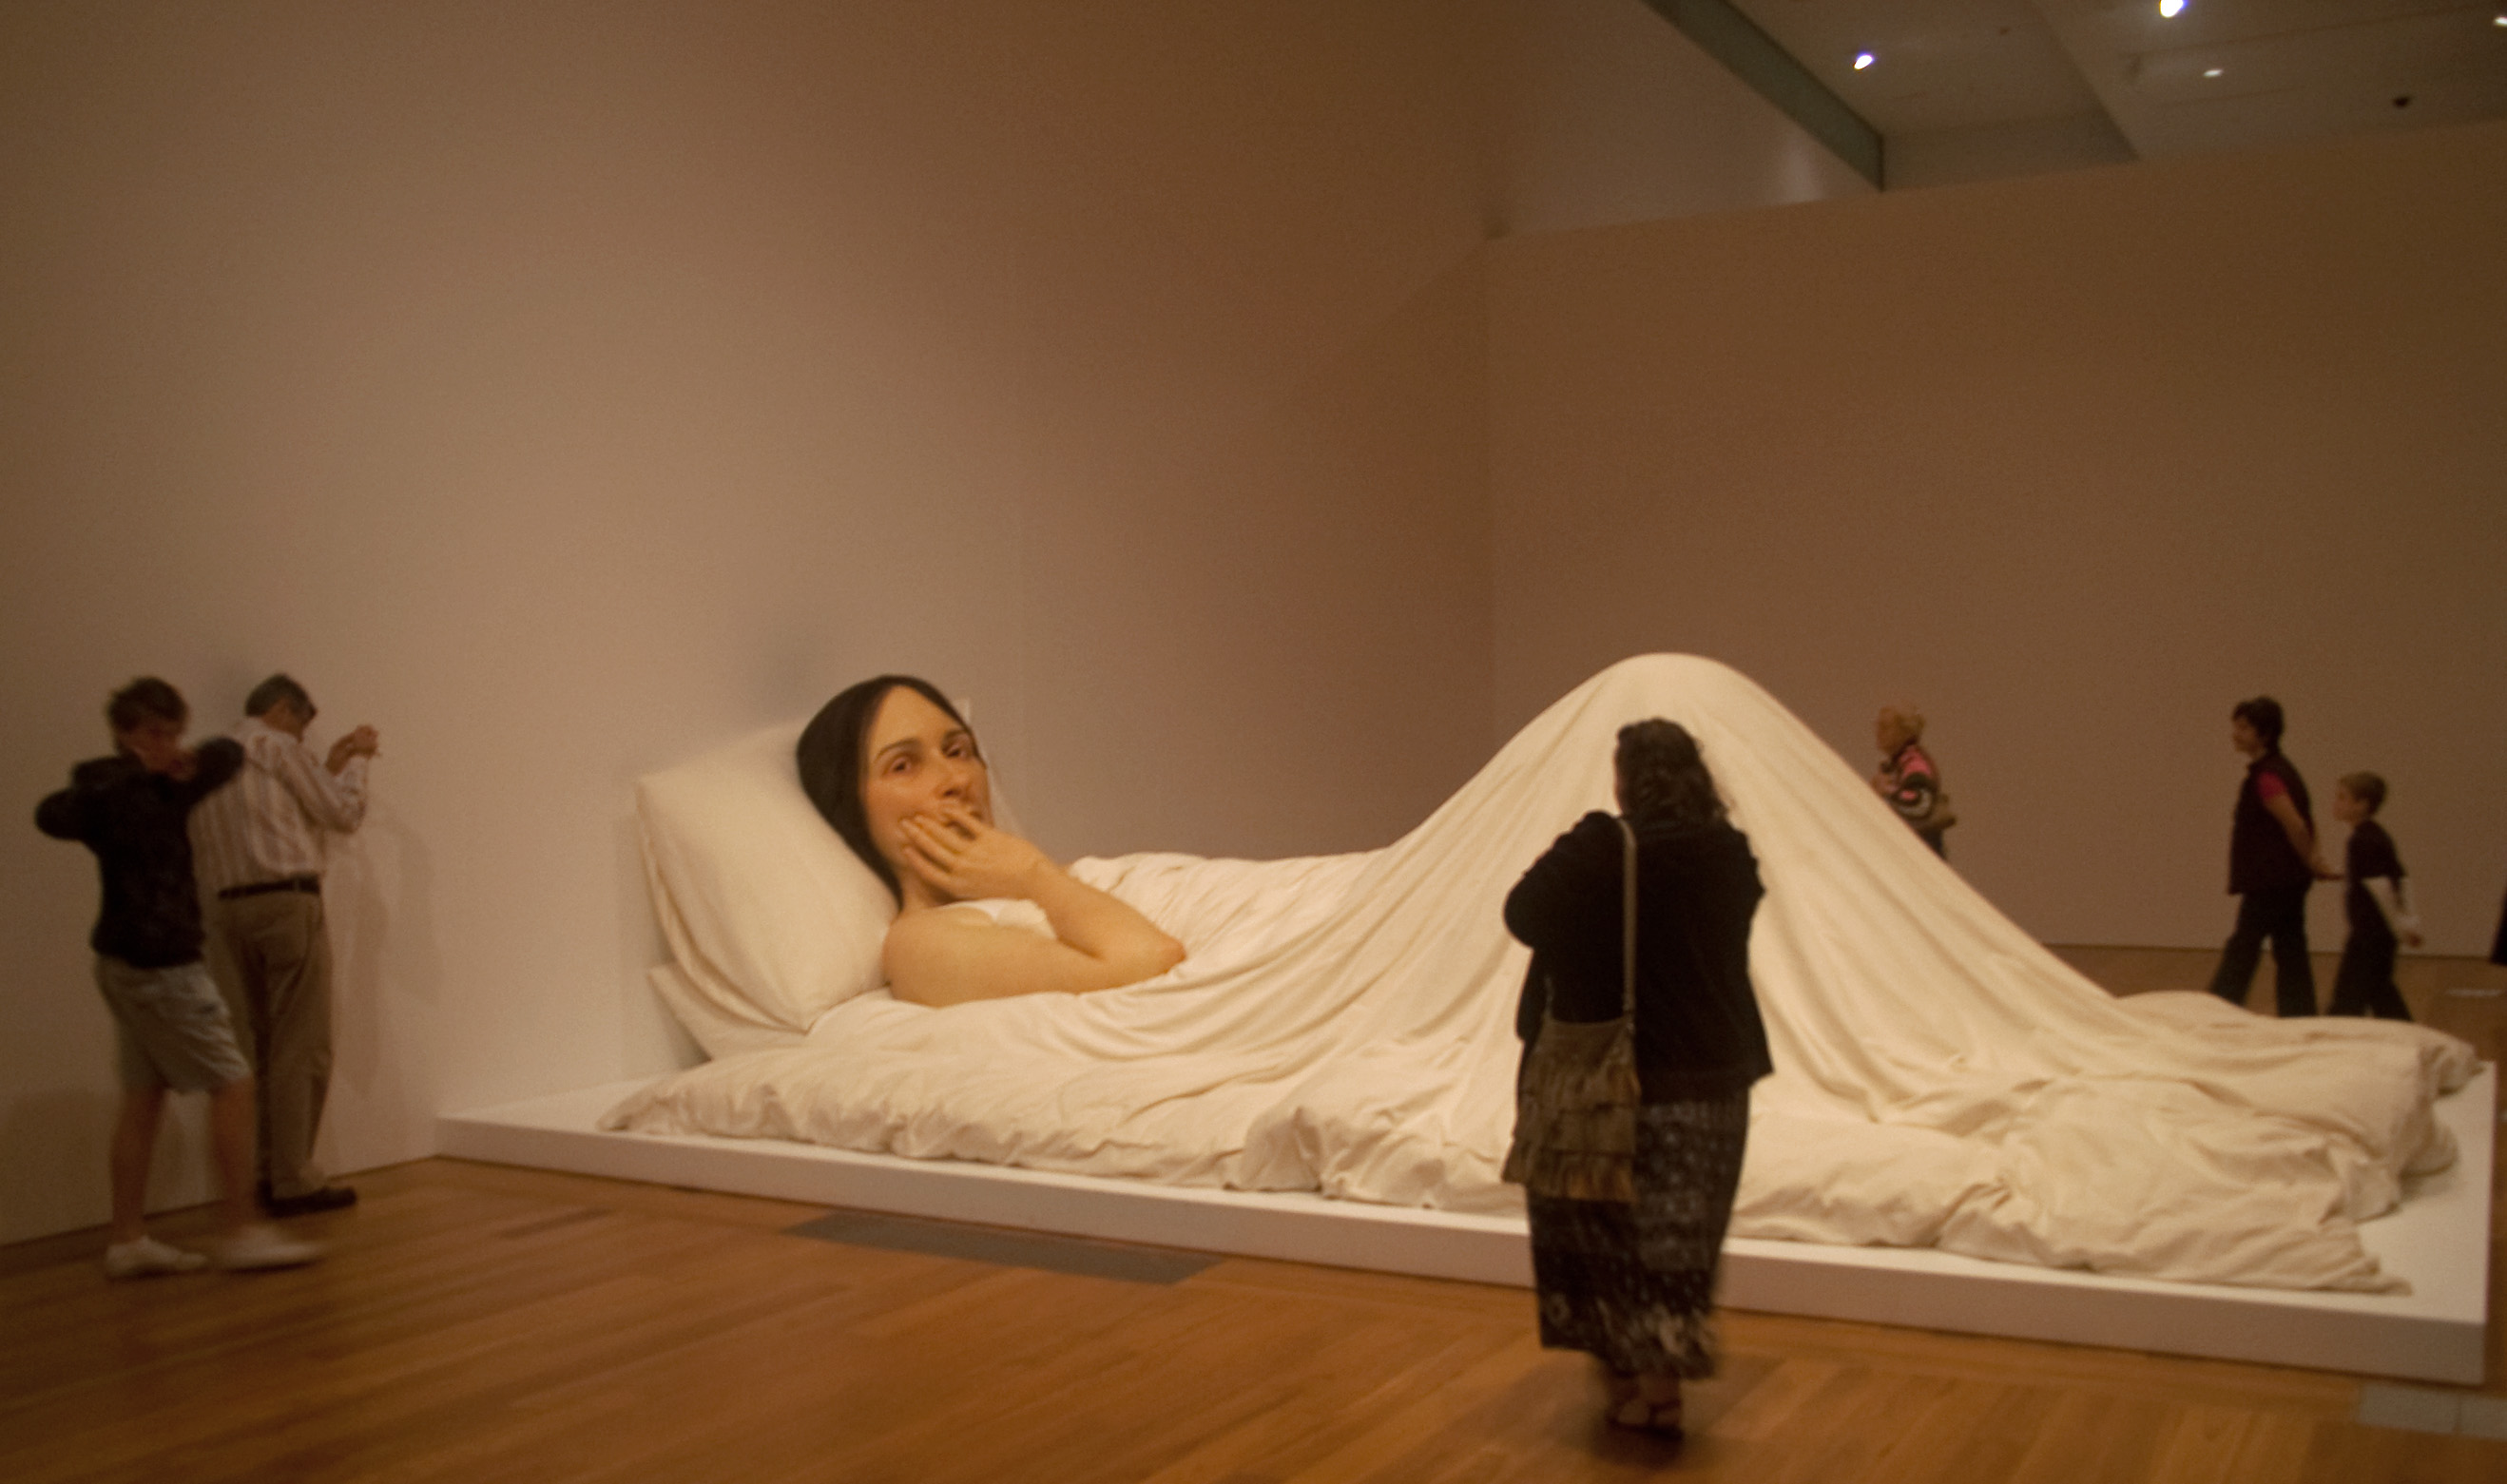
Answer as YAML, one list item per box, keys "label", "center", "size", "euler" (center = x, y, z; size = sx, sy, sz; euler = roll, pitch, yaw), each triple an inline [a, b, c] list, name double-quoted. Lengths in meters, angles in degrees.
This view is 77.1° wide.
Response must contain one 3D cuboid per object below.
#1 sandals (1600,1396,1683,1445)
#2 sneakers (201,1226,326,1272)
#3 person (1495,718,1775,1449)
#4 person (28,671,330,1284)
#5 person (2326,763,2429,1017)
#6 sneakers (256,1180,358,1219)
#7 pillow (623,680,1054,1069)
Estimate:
- label: "sandals"
  center: [0.956, 1.660, 3.834]
  size: [0.154, 0.056, 0.086]
  euler: [2, 3, 16]
- label: "sneakers"
  center: [-3.088, 1.556, 4.899]
  size: [0.275, 0.101, 0.153]
  euler: [-1, 1, -11]
- label: "person"
  center: [0.940, 0.825, 3.863]
  size: [0.653, 1.749, 0.274]
  euler: [1, -5, -18]
- label: "person"
  center: [-3.368, 0.722, 4.867]
  size: [0.700, 1.824, 0.283]
  euler: [2, -6, -34]
- label: "person"
  center: [4.986, 0.676, 7.010]
  size: [0.317, 1.139, 1.312]
  euler: [-4, -7, 34]
- label: "sneakers"
  center: [-3.202, 1.549, 5.332]
  size: [0.306, 0.120, 0.103]
  euler: [1, -1, -17]
- label: "pillow"
  center: [-1.969, 0.572, 6.141]
  size: [1.147, 1.138, 0.331]
  euler: [-14, -5, -33]
